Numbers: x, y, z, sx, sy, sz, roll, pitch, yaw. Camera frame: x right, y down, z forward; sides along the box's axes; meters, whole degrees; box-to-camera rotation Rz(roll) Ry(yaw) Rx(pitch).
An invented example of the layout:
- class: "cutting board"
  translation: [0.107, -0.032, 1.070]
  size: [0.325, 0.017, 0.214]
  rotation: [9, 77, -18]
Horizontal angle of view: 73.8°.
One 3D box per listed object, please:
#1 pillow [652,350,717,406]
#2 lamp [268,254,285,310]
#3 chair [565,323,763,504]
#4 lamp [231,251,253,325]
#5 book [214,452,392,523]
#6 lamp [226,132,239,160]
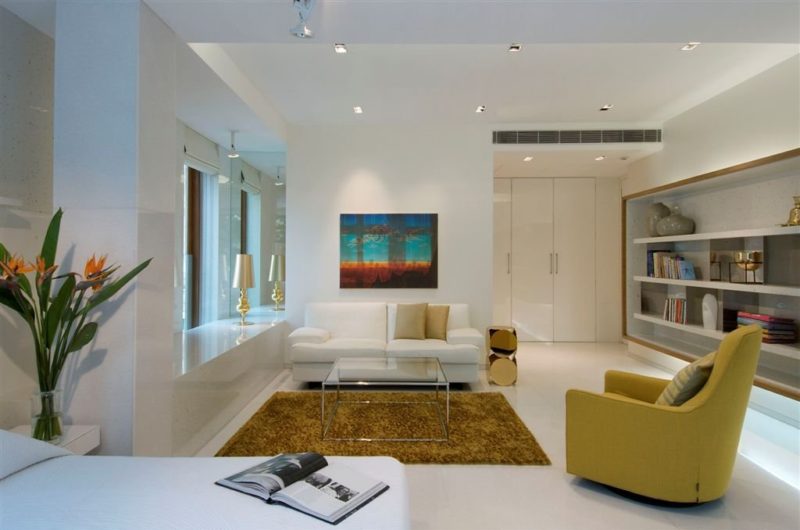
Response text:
- class: "pillow"
  translation: [2.204, 0.898, 4.097]
  size: [0.132, 0.425, 0.457]
  rotation: [26, 32, 34]
- class: "lamp"
  translation: [-1.723, 0.255, 7.434]
  size: [0.206, 0.884, 0.781]
  rotation: [-3, 13, -13]
- class: "chair"
  translation: [2.144, 1.172, 4.428]
  size: [1.317, 1.341, 0.983]
  rotation: [0, 1, 38]
- class: "lamp"
  translation: [-2.014, 0.296, 6.823]
  size: [0.245, 0.836, 0.611]
  rotation: [-4, 13, -17]
- class: "book"
  translation: [-0.530, 1.331, 3.227]
  size: [0.586, 0.081, 0.368]
  rotation: [3, 2, 31]
- class: "lamp"
  translation: [-2.201, -1.561, 6.923]
  size: [0.129, 0.225, 0.132]
  rotation: [20, 28, 24]
